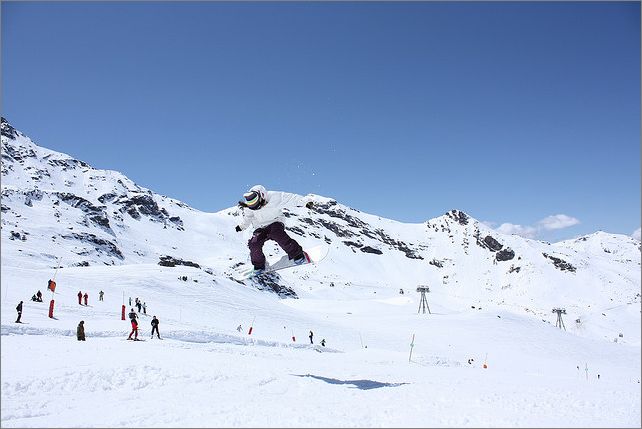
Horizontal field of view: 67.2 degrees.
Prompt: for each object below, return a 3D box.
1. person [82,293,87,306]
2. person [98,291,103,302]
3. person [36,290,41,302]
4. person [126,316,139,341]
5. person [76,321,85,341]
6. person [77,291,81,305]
[{"bbox_3d":[-24.085,8.760,49.678,0.410,1.224,1.490,4,-12,-26],"label":"person"},{"bbox_3d":[-23.941,8.919,52.866,0.459,1.026,1.369,4,-12,-26],"label":"person"},{"bbox_3d":[-27.566,8.044,47.521,0.514,1.110,1.496,5,-12,-27],"label":"person"},{"bbox_3d":[-16.380,10.004,42.443,0.867,2.086,1.244,3,-12,-19],"label":"person"},{"bbox_3d":[-20.146,9.838,40.775,0.687,1.618,0.875,4,-12,-24],"label":"person"},{"bbox_3d":[-24.486,8.592,49.246,0.356,1.265,1.315,4,-12,-26],"label":"person"}]
